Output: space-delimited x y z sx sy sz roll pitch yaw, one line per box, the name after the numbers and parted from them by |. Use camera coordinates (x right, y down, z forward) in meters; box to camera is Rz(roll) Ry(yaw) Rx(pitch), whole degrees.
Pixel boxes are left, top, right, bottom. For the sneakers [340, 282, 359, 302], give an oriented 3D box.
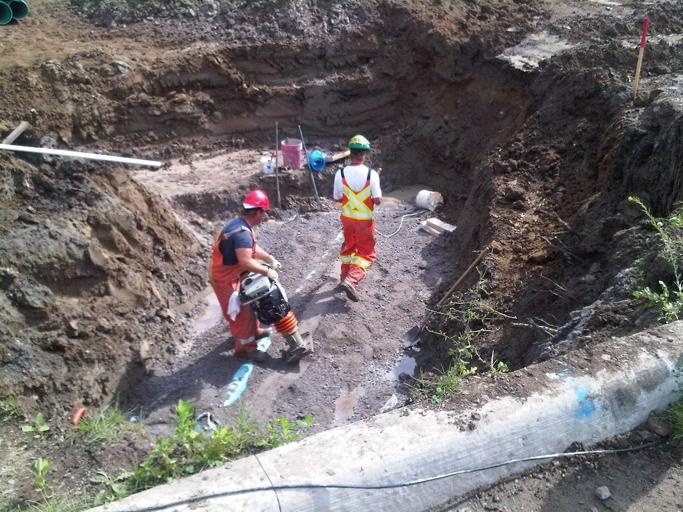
0.119 0.485 9.966 0.169 0.372 0.134 9 68 20 | sneakers

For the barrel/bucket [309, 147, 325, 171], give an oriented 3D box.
-0.410 -1.615 12.263 0.271 0.327 0.280 5 44 -5 | barrel/bucket

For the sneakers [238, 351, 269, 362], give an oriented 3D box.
-1.133 1.257 9.411 0.428 0.183 0.141 0 19 6 | sneakers

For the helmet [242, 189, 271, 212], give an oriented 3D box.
-1.033 -0.656 9.070 0.261 0.210 0.354 18 22 20 | helmet

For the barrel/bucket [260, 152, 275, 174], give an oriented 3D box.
-1.199 -1.497 11.998 0.244 0.266 0.236 2 46 -3 | barrel/bucket

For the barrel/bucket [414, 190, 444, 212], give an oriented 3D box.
1.405 -0.924 12.054 0.417 0.399 0.328 -28 26 -35 | barrel/bucket

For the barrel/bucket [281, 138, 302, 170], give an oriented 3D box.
-0.814 -1.643 12.269 0.357 0.566 0.477 -4 60 -4 | barrel/bucket

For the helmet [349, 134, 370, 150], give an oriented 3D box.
0.233 -1.516 9.958 0.300 0.208 0.387 5 25 5 | helmet

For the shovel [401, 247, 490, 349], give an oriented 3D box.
1.390 0.596 9.795 1.646 0.171 0.323 -44 40 7 | shovel

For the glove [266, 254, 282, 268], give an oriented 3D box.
-0.844 0.080 9.418 0.145 0.199 0.069 27 88 33 | glove
